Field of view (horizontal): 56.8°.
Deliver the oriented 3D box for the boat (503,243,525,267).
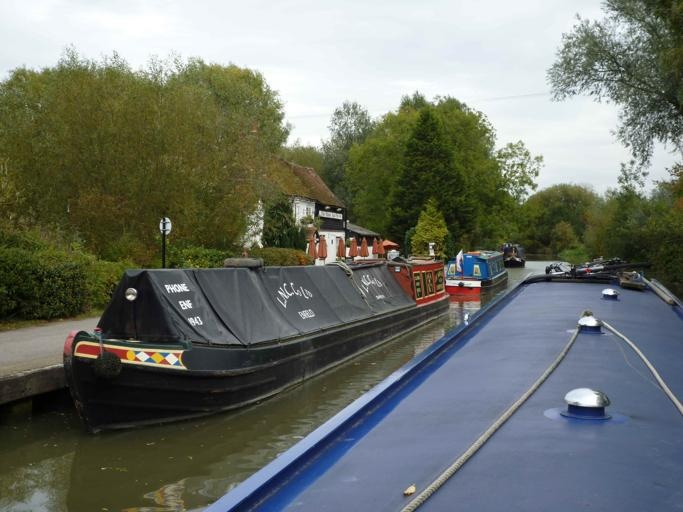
[{"bbox_3d":[13.648,0.171,50.060,1.455,2.030,5.191,2,11,12],"label":"boat"}]
